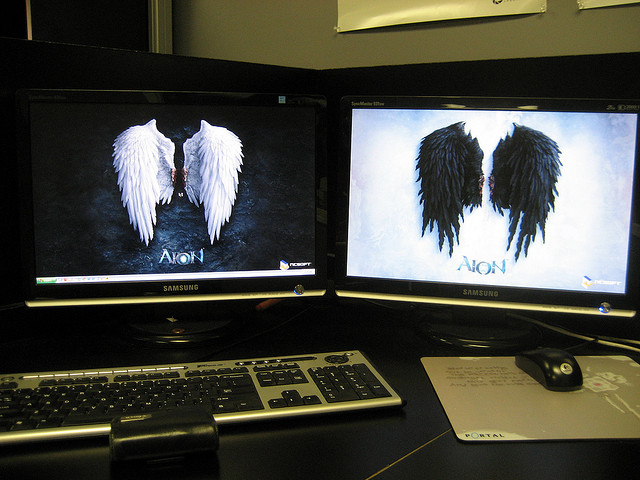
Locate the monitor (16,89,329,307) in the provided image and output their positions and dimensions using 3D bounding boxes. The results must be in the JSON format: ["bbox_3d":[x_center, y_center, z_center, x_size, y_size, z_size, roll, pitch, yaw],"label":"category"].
[{"bbox_3d":[-0.348,-0.100,1.220,0.537,0.359,0.068,-1,3,-14],"label":"monitor"}]

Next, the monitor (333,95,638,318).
[{"bbox_3d":[0.387,-0.089,1.235,0.541,0.363,0.063,3,1,8],"label":"monitor"}]

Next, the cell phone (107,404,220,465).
[{"bbox_3d":[-0.251,0.307,0.886,0.128,0.043,0.094,-2,15,-13],"label":"cell phone"}]

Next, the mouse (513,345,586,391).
[{"bbox_3d":[0.460,0.246,1.122,0.143,0.060,0.127,5,13,23],"label":"mouse"}]
